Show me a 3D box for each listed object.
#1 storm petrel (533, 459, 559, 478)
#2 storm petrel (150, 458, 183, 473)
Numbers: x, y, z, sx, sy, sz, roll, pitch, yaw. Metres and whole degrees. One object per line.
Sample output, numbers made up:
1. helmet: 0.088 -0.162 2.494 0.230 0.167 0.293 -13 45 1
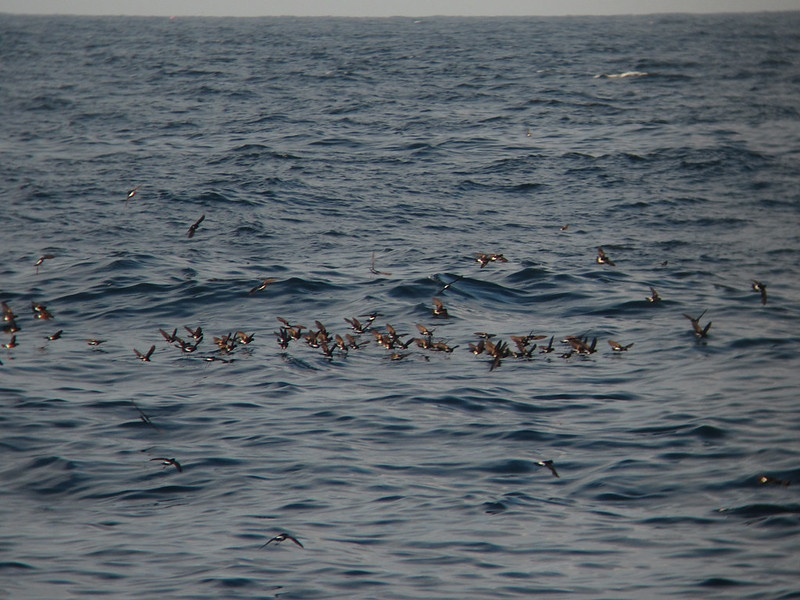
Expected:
1. storm petrel: 3.385 3.865 36.433 0.449 0.327 0.701 -5 14 -19
2. storm petrel: -5.245 3.743 36.454 0.795 0.270 0.280 7 17 28
